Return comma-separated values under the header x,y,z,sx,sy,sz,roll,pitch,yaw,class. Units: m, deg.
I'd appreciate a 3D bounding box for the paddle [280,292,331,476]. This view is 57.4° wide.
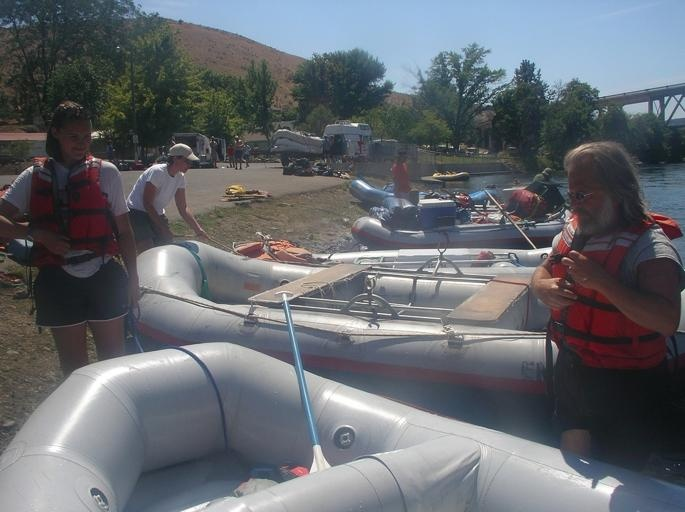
x,y,z,sx,sy,sz,roll,pitch,yaw,class
-0.262,0.831,4.188,0.274,0.137,1.181,-6,56,-12,paddle

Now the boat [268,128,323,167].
x,y,z,sx,sy,sz,roll,pitch,yaw,class
-2.010,-5.098,28.904,2.329,0.900,1.649,7,15,-19,boat

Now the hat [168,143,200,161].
x,y,z,sx,sy,sz,roll,pitch,yaw,class
-1.607,-1.041,6.412,0.332,0.186,0.232,-7,24,-29,hat

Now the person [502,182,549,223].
x,y,z,sx,sy,sz,roll,pitch,yaw,class
3.348,-0.947,11.405,0.710,0.290,0.523,-22,35,0,person

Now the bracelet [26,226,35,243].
x,y,z,sx,sy,sz,roll,pitch,yaw,class
-1.998,-0.143,3.973,0.040,0.101,0.174,-7,12,-27,bracelet

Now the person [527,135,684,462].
x,y,z,sx,sy,sz,roll,pitch,yaw,class
1.432,0.245,3.415,0.741,1.701,0.479,4,12,23,person
